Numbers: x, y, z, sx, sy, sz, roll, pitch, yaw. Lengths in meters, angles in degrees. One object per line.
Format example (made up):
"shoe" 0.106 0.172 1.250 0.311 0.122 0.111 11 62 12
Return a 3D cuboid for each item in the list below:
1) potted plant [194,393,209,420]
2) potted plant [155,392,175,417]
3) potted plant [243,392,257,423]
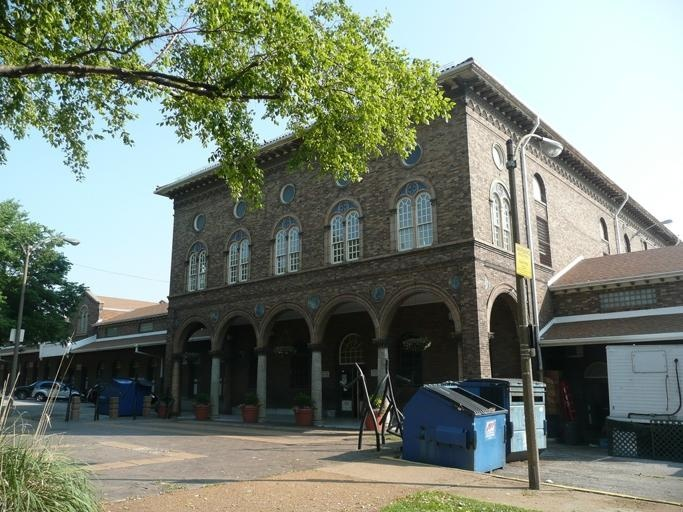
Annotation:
"potted plant" -6.568 7.177 26.063 0.734 1.217 0.640 11 -22 -28
"potted plant" -8.923 7.562 27.647 0.493 1.234 1.740 15 -24 -36
"potted plant" -3.927 6.613 23.803 0.792 1.207 0.462 15 -25 -36
